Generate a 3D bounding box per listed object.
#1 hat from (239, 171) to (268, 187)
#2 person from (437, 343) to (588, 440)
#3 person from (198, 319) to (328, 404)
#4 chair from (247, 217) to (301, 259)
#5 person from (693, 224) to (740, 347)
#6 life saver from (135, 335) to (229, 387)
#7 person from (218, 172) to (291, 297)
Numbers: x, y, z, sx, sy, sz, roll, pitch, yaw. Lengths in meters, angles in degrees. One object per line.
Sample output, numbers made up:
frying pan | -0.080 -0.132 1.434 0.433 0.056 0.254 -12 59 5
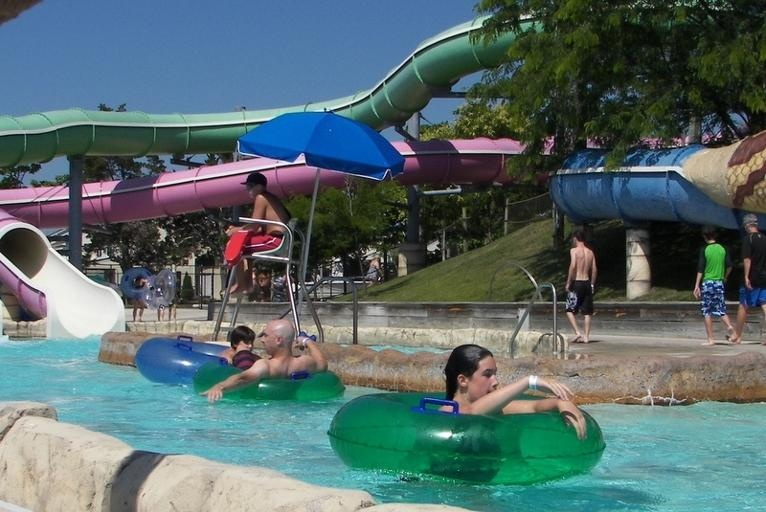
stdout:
hat | -2.055 -1.202 15.644 0.362 0.199 0.262 2 0 5
person | 1.450 1.573 11.241 1.477 1.086 1.441 0 21 -2
person | -1.657 1.351 13.851 2.105 1.171 1.023 -9 14 -29
chair | -1.649 -0.230 15.621 0.706 0.591 0.826 1 -1 16
person | 5.655 0.496 16.880 0.750 2.023 0.593 -1 1 -1
life saver | -3.089 1.554 15.280 1.459 0.442 1.471 19 14 40
person | -1.980 -0.378 15.815 1.235 1.839 0.744 0 -4 3
